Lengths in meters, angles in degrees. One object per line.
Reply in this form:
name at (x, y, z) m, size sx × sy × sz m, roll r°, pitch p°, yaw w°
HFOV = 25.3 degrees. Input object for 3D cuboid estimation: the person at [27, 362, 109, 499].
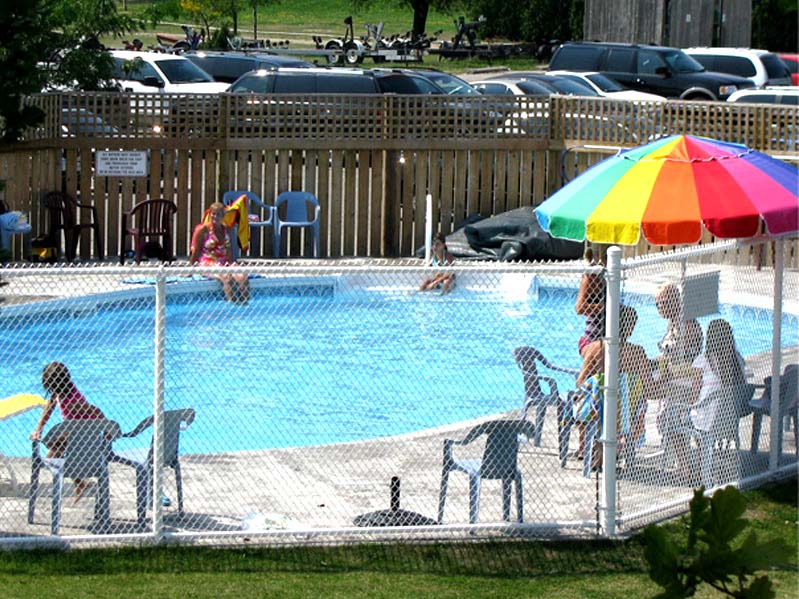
person at (-3.217, 1.370, 17.309) m, size 0.709 × 1.588 × 0.387 m, roll 2°, pitch 9°, yaw 26°

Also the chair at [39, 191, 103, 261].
chair at (-4.408, -1.048, 25.061) m, size 0.606 × 0.991 × 0.716 m, roll 0°, pitch 4°, yaw 17°

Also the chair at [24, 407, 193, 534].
chair at (-2.666, 1.526, 17.069) m, size 1.016 × 1.105 × 1.235 m, roll 1°, pitch 1°, yaw 7°

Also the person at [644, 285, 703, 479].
person at (2.741, 0.823, 17.395) m, size 0.500 × 1.909 × 0.333 m, roll -1°, pitch 3°, yaw 1°

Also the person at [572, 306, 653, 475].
person at (2.097, 0.867, 17.479) m, size 0.655 × 1.631 × 0.831 m, roll -1°, pitch 3°, yaw -7°

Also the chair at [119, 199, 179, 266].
chair at (-3.469, -0.948, 24.821) m, size 0.623 × 1.037 × 0.662 m, roll 0°, pitch 6°, yaw -16°
